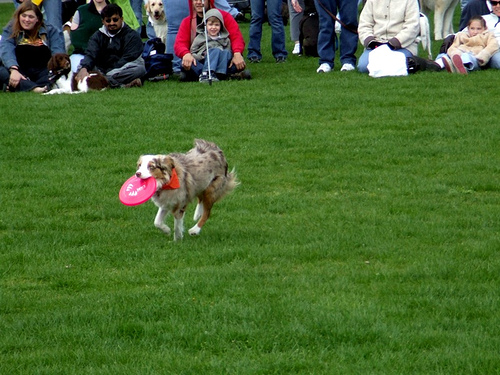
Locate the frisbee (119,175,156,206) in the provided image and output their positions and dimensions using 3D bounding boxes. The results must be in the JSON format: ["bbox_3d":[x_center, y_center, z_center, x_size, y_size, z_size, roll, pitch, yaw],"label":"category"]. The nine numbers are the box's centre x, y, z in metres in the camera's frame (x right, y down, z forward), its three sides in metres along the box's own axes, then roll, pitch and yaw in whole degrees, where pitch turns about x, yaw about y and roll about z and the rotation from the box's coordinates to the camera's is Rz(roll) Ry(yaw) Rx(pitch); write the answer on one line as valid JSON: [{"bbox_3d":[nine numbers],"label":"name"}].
[{"bbox_3d":[-1.621,0.095,17.573,0.451,0.079,0.470,-34,36,1],"label":"frisbee"}]

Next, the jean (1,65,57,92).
[{"bbox_3d":[-4.364,-2.133,23.676,1.050,0.468,0.314,-2,13,-13],"label":"jean"}]

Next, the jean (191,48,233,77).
[{"bbox_3d":[-0.715,-2.477,24.065,0.579,0.592,0.277,1,46,-20],"label":"jean"}]

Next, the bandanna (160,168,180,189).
[{"bbox_3d":[-1.162,-0.132,17.483,0.121,0.281,0.188,17,-15,-42],"label":"bandanna"}]

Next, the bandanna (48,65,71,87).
[{"bbox_3d":[-3.800,-2.188,23.655,0.269,0.395,0.141,8,38,-23],"label":"bandanna"}]

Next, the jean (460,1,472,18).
[{"bbox_3d":[4.594,-3.861,25.880,0.193,0.315,1.149,3,15,10],"label":"jean"}]

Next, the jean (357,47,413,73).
[{"bbox_3d":[2.578,-2.531,24.229,0.706,0.310,0.559,-4,13,-7],"label":"jean"}]
